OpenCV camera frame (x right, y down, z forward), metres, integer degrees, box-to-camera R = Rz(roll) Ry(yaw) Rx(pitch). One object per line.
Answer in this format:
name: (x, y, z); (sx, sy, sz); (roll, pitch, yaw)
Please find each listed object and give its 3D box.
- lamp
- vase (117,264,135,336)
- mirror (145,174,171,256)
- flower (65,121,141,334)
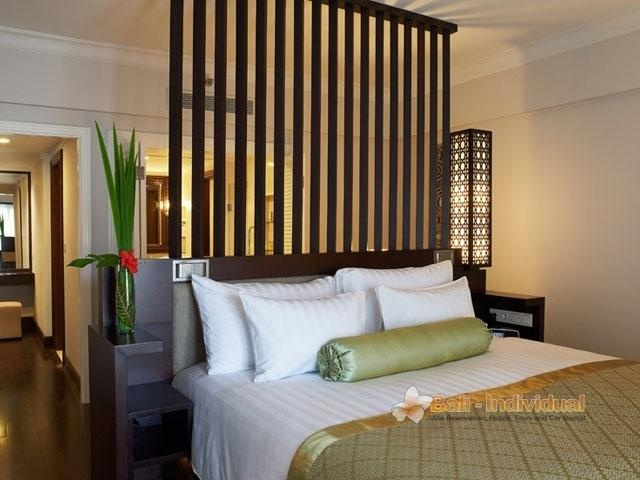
lamp: (1.314, -0.358, 4.385); (0.354, 1.188, 0.243); (2, 9, 17)
vase: (-1.058, 0.321, 2.741); (0.109, 0.352, 0.114); (-8, 11, -38)
mirror: (-2.672, -0.451, 8.259); (0.351, 1.210, 0.741); (-4, 9, -17)
flower: (-1.076, -0.030, 2.828); (0.369, 1.069, 0.477); (7, 9, 39)
